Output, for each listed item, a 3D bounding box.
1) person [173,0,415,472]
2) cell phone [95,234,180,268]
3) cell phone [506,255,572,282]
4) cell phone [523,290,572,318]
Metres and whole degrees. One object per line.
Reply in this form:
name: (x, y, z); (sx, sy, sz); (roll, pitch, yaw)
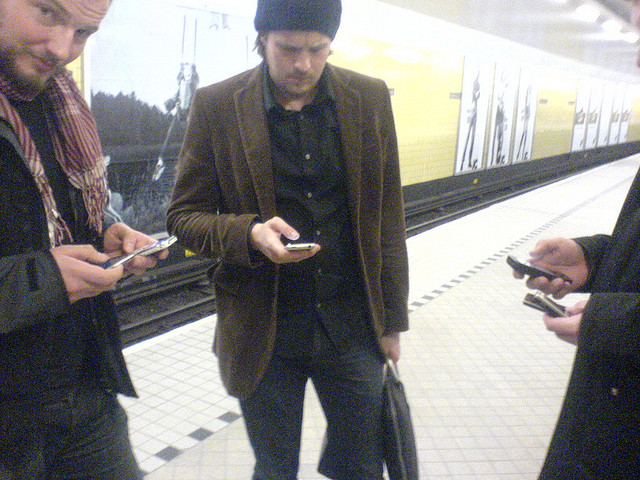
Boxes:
person: (-0.066, 0.004, 1.788); (0.877, 1.660, 0.688); (2, 23, 10)
cell phone: (-0.584, 0.029, 1.622); (0.325, 0.014, 0.071); (-24, 46, -40)
cell phone: (0.795, 0.094, 1.749); (0.195, 0.044, 0.090); (15, 6, 11)
cell phone: (0.740, 0.210, 1.558); (0.080, 0.036, 0.109); (15, -12, -34)
